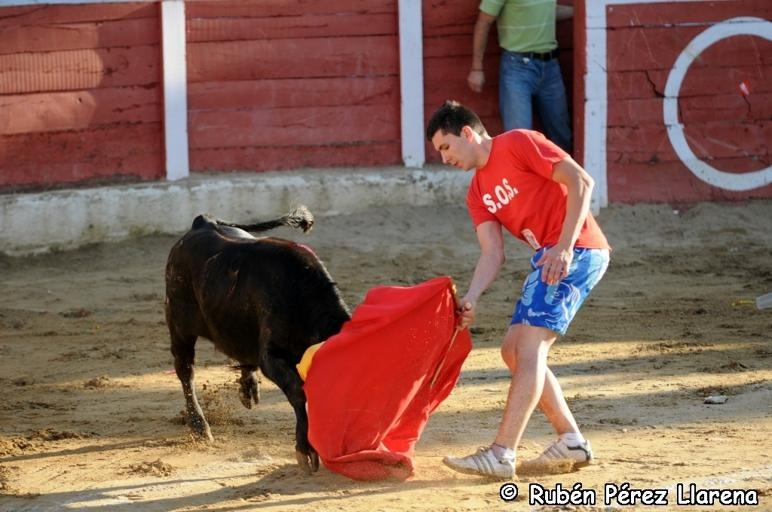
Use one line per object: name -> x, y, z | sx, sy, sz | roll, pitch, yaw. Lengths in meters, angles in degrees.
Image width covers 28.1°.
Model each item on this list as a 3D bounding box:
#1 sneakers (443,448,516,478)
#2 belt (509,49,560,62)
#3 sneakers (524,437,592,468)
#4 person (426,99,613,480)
sneakers -> 0.755, 1.555, 11.706 | 0.609, 0.239, 0.210 | 9, -7, -2
belt -> 1.555, -2.084, 16.038 | 0.505, 0.110, 0.133 | -7, 11, -21
sneakers -> 1.340, 1.506, 11.812 | 0.567, 0.221, 0.200 | -1, -4, 2
person -> 1.079, 0.233, 11.679 | 1.235, 2.791, 0.772 | -2, 11, 7
